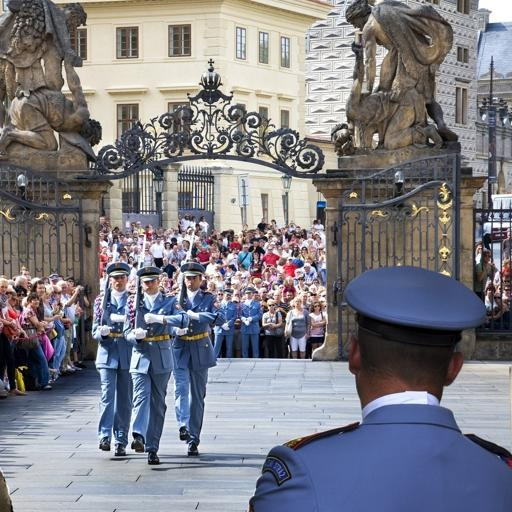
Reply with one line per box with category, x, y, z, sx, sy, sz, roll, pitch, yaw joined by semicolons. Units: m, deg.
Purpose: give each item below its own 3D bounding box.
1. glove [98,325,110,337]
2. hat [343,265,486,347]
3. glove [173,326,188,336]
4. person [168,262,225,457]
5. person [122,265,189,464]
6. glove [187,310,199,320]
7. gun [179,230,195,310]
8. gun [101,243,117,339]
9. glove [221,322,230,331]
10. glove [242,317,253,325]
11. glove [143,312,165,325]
glove;-1.627;0.780;16.514;0.113;0.112;0.112;0;9;-3
hat;1.140;0.333;11.084;0.843;0.271;0.898;4;16;-14
glove;-0.814;0.775;16.517;0.106;0.096;0.083;-17;10;-5
person;-0.703;1.044;16.702;0.558;1.967;0.606;1;2;-20
person;-0.988;1.106;16.232;0.704;1.930;0.709;1;10;-12
glove;-0.690;0.616;16.663;0.124;0.084;0.123;0;9;-2
gun;-0.929;0.167;20.543;0.060;1.352;0.265;15;-17;-39
gun;-1.646;0.388;16.717;0.181;0.837;0.128;-6;6;-35
glove;-0.475;1.032;23.434;0.114;0.072;0.157;3;-8;-12
glove;-0.160;0.951;23.493;0.107;0.113;0.044;1;8;30
glove;-1.067;0.628;16.137;0.172;0.098;0.066;-1;-17;-12
